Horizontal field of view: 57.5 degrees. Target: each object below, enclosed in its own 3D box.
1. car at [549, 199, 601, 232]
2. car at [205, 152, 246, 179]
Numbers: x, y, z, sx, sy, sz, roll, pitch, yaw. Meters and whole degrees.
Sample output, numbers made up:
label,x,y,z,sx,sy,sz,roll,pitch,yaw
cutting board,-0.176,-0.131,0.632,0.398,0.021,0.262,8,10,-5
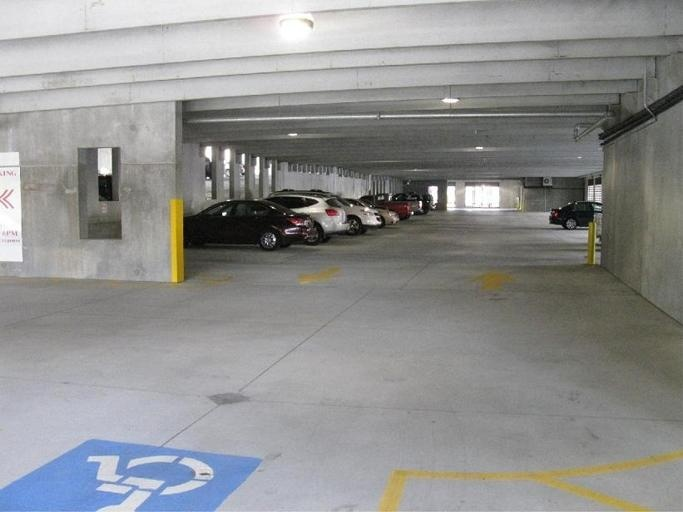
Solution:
label,x,y,z,sx,sy,sz,roll,pitch,yaw
car,11.594,-2.001,30.903,2.296,1.335,1.669,3,9,17
car,-6.090,-4.304,30.289,1.857,0.814,1.154,0,1,19
